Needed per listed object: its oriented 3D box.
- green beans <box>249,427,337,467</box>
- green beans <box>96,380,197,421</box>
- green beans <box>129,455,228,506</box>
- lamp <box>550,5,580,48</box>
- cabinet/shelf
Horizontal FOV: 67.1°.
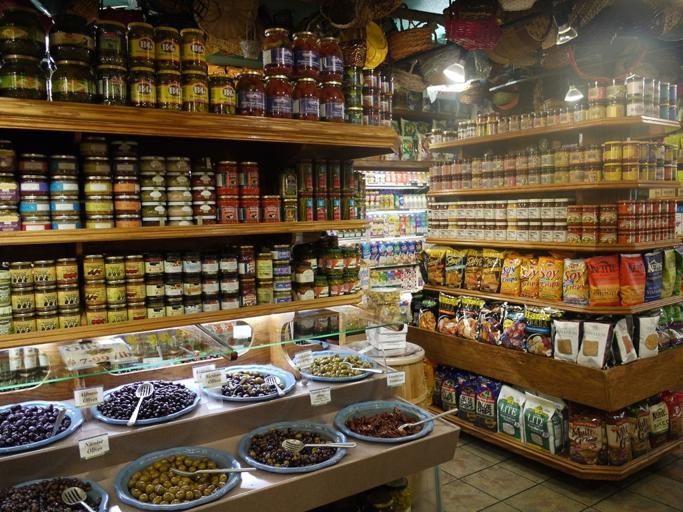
[{"bbox_3d":[-0.259,0.974,2.626,0.427,0.064,0.339,-4,9,-19],"label":"green beans"},{"bbox_3d":[-1.027,0.763,2.741,0.504,0.077,0.370,-5,10,-25],"label":"green beans"},{"bbox_3d":[-0.764,1.045,2.402,0.462,0.082,0.271,0,9,6],"label":"green beans"},{"bbox_3d":[2.002,-2.094,4.638,0.167,0.126,0.296,-11,7,35],"label":"lamp"},{"bbox_3d":[0.163,0.349,3.257,3.872,1.575,1.239,-2,7,-27],"label":"cabinet/shelf"}]
